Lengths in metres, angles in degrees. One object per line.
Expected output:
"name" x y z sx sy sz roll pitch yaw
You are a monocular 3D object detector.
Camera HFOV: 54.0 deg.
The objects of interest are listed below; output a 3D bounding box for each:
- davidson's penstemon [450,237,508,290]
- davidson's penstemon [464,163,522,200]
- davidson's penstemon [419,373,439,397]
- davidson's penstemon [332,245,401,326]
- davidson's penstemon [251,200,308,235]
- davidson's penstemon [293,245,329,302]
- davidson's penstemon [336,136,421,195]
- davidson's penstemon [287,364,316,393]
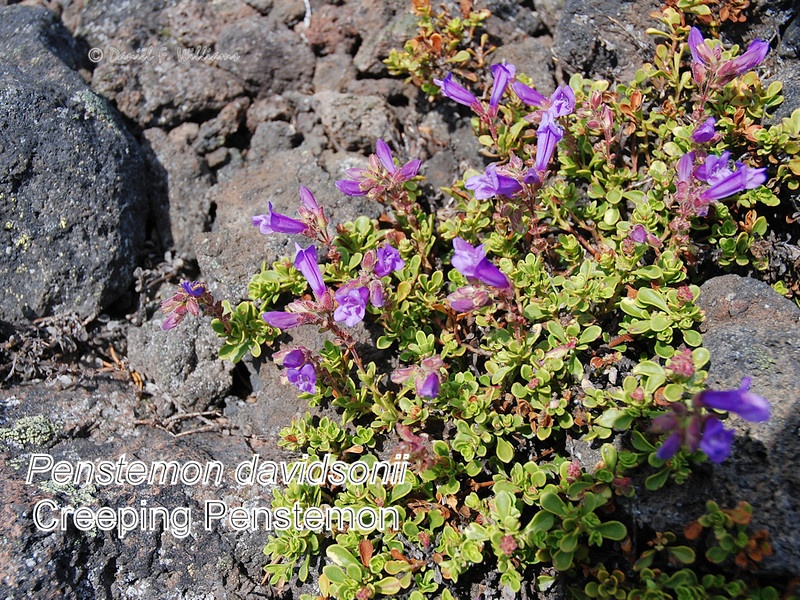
"davidson's penstemon" 0.595 -0.251 5.887 0.291 0.447 0.172 -40 28 17
"davidson's penstemon" 0.738 -0.925 6.194 0.301 0.137 0.312 -17 31 -6
"davidson's penstemon" 0.214 0.630 5.870 0.143 0.160 0.165 -1 72 11
"davidson's penstemon" -0.242 -0.129 6.148 0.652 0.269 0.438 -39 85 -24
"davidson's penstemon" -1.014 -0.633 6.481 0.434 0.256 0.258 14 66 14
"davidson's penstemon" -0.690 -0.230 6.235 0.165 0.574 0.148 -29 21 -12
"davidson's penstemon" -0.179 -1.039 6.638 0.481 0.240 0.577 -29 60 4
"davidson's penstemon" -0.768 0.597 6.207 0.217 0.237 0.111 8 30 -18
